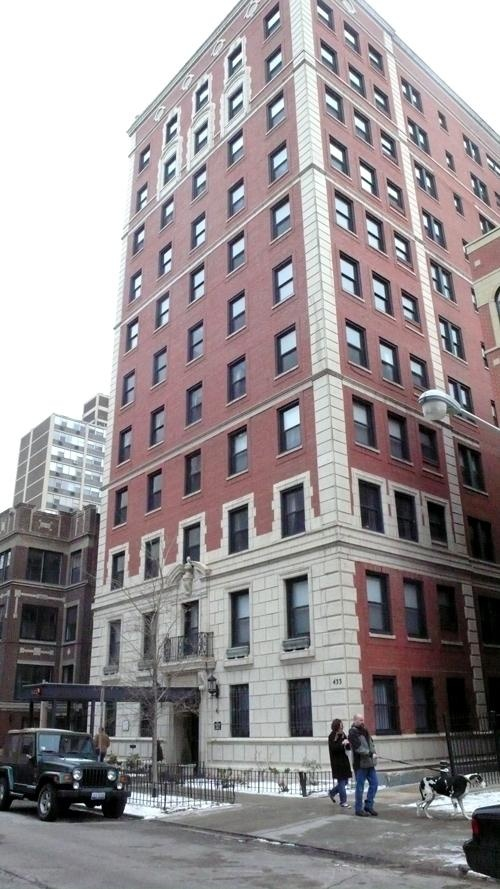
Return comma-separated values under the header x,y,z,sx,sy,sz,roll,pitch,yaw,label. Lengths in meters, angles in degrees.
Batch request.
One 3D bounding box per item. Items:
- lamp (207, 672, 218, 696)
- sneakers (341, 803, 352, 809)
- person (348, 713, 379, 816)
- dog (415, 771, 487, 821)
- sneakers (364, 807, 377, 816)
x,y,z,sx,sy,sz,roll,pitch,yaw,label
-1.348,8.854,21.755,0.196,0.837,0.579,15,-29,-33,lamp
1.872,7.011,11.468,0.076,0.114,0.220,8,-24,-22,sneakers
2.032,5.756,10.632,0.424,1.587,1.308,-5,-25,10,person
3.596,6.268,10.688,0.982,0.669,2.897,-9,-28,16,dog
2.072,6.382,10.319,0.097,0.144,0.293,10,-22,-16,sneakers
